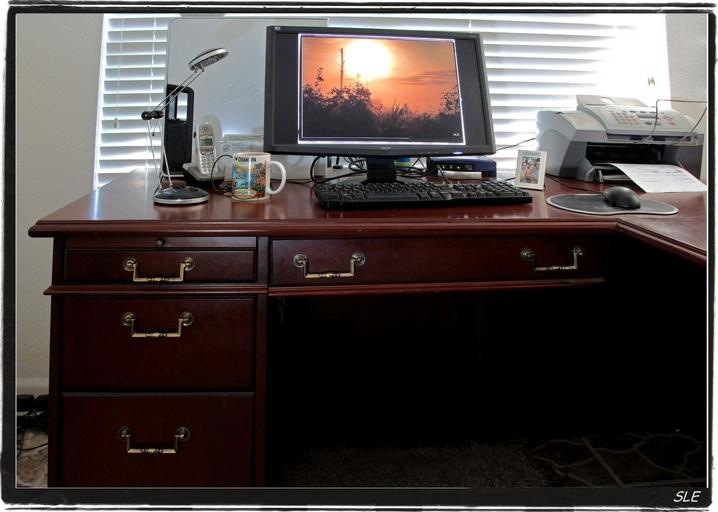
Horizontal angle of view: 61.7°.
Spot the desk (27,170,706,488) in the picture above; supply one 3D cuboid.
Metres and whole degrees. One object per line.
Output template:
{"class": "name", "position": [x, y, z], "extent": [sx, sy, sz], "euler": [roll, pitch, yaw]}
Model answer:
{"class": "desk", "position": [0.096, 0.245, 1.815], "extent": [1.801, 1.011, 0.770], "euler": [2, 10, -2]}

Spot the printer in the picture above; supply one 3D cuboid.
{"class": "printer", "position": [0.865, -0.410, 1.910], "extent": [0.465, 0.271, 0.478], "euler": [-1, 16, -15]}

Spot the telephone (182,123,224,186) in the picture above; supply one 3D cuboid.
{"class": "telephone", "position": [-0.462, -0.335, 1.778], "extent": [0.129, 0.188, 0.116], "euler": [-9, 13, -27]}

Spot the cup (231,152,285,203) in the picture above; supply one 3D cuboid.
{"class": "cup", "position": [-0.278, -0.241, 1.647], "extent": [0.166, 0.119, 0.096], "euler": [2, 5, 3]}
